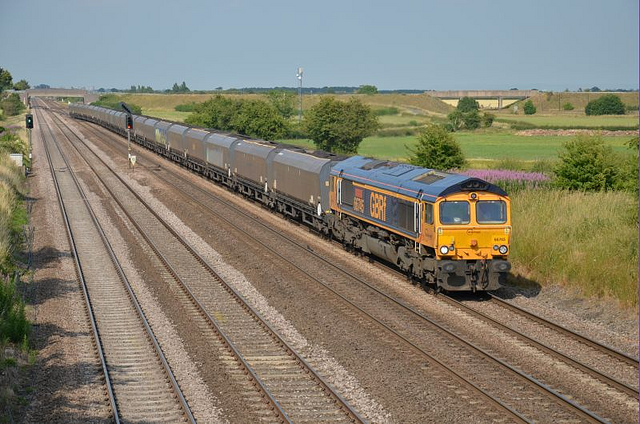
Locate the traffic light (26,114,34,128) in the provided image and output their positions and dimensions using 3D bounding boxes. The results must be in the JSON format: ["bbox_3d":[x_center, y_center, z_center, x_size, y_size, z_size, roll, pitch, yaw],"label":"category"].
[{"bbox_3d":[-28.617,-8.997,51.855,0.529,1.327,1.596,-10,17,-32],"label":"traffic light"}]
